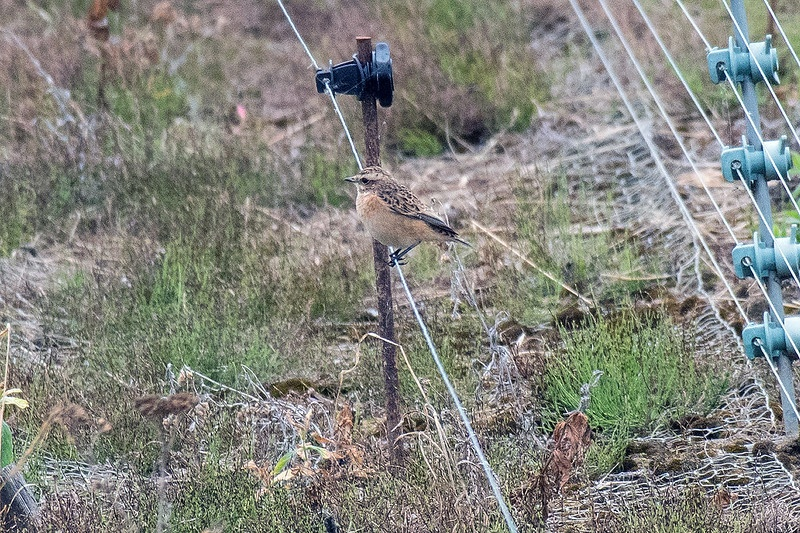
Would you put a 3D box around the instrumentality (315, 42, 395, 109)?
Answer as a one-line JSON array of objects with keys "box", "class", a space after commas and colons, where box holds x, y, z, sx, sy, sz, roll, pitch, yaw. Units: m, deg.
[{"box": [-0.434, -1.706, 14.747, 0.763, 0.622, 0.477, -5, 6, -1], "class": "instrumentality"}]

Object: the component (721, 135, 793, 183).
[{"box": [3.134, -0.888, 13.787, 0.522, 0.369, 0.345, -2, -7, 7], "class": "component"}]

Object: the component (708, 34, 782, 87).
[{"box": [3.029, -1.703, 13.881, 0.587, 0.542, 0.258, -16, 19, 14], "class": "component"}]
